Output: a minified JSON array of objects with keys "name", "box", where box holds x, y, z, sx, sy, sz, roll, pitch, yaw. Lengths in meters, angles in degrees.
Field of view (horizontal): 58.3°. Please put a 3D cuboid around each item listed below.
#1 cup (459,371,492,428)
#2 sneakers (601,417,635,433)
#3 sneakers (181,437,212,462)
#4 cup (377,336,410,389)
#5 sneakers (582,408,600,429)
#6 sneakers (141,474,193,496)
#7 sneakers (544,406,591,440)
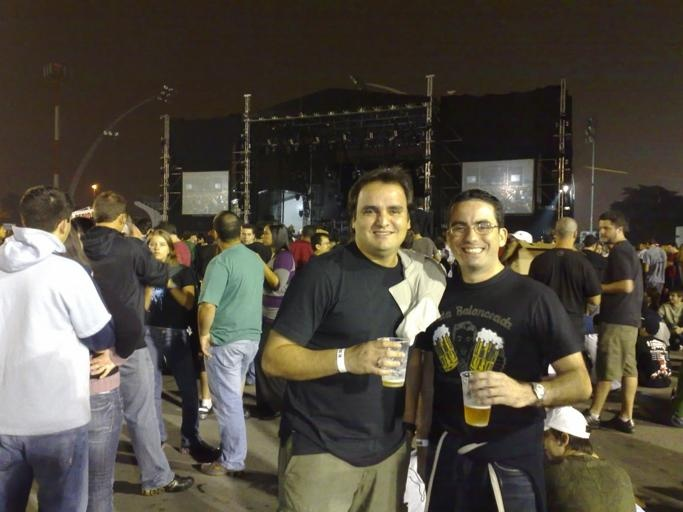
[{"name":"cup","box":[0.778,0.862,3.746,0.252,0.406,0.314,0,4,12]},{"name":"sneakers","box":[3.055,1.863,6.816,0.143,0.165,0.383,1,-2,-18]},{"name":"sneakers","box":[-1.409,1.909,6.027,0.347,0.183,0.149,10,11,21]},{"name":"cup","box":[0.339,0.631,3.603,0.251,0.343,0.253,0,-3,0]},{"name":"sneakers","box":[2.748,1.803,6.851,0.130,0.177,0.381,1,0,-6]},{"name":"sneakers","box":[-1.519,2.017,5.356,0.423,0.202,0.155,-3,10,-32]},{"name":"sneakers","box":[1.646,1.216,4.508,0.297,0.209,0.220,2,8,7]}]
